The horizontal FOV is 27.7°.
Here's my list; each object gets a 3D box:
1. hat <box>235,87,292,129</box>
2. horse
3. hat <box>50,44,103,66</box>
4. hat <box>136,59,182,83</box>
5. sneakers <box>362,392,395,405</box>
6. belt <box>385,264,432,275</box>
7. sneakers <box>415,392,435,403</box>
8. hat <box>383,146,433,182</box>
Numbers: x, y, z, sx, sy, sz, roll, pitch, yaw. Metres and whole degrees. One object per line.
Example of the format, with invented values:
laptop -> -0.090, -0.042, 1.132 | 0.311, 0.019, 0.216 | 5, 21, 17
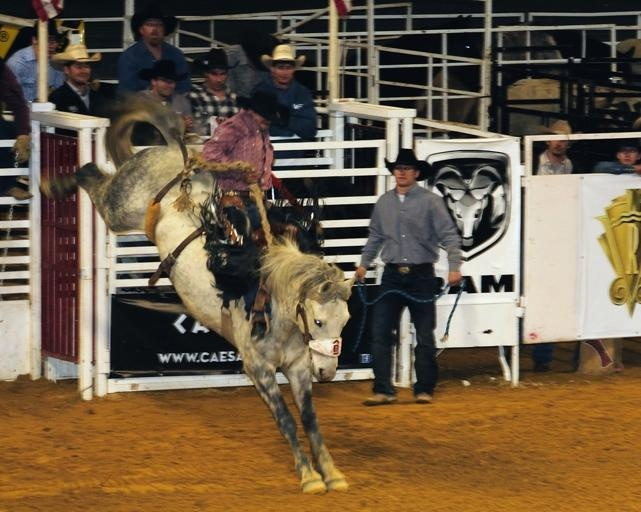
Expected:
hat -> -0.555, -1.367, 11.995 | 0.425, 0.149, 0.328 | 21, -22, 20
horse -> -1.217, 0.466, 12.555 | 2.198, 4.069, 1.207 | -41, -15, 26
hat -> -2.796, -2.273, 14.783 | 0.255, 0.190, 0.505 | -2, 1, -37
hat -> -1.768, -1.992, 14.202 | 0.394, 0.115, 0.304 | 1, 2, -3
sneakers -> 0.604, 1.435, 13.243 | 0.367, 0.120, 0.118 | 0, 15, -10
belt -> 0.897, 0.128, 13.215 | 0.477, 0.069, 0.129 | -1, 1, 6
sneakers -> 1.061, 1.431, 13.358 | 0.128, 0.094, 0.241 | 0, -7, 2
hat -> 0.914, -0.940, 13.333 | 0.354, 0.124, 0.363 | 2, -25, 7
